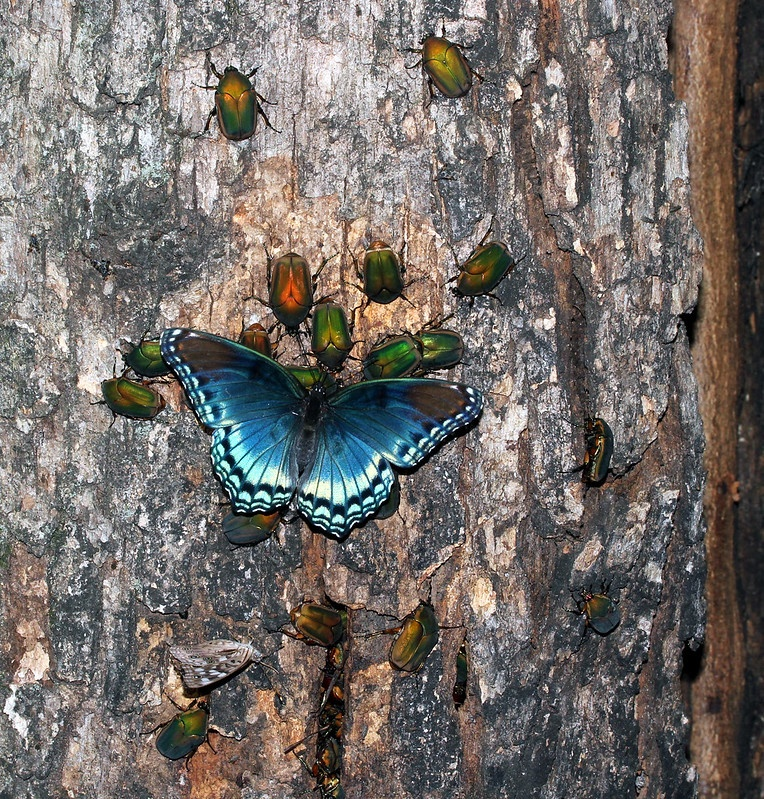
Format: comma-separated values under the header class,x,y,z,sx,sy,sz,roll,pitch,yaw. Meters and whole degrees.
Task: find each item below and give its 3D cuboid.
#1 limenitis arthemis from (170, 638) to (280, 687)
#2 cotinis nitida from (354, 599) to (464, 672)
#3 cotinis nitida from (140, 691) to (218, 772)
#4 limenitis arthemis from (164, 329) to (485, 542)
class,x,y,z,sx,sy,sz,roll,pitch,yaw
limenitis arthemis,-0.755,1.186,7.662,0.431,0.243,0.150,6,-36,-4
cotinis nitida,0.143,1.084,7.663,0.251,0.314,0.088,39,-10,-20
cotinis nitida,-0.898,1.530,7.814,0.258,0.201,0.255,-11,-42,14
limenitis arthemis,-0.341,0.143,7.803,1.412,1.247,1.114,-11,10,-24
